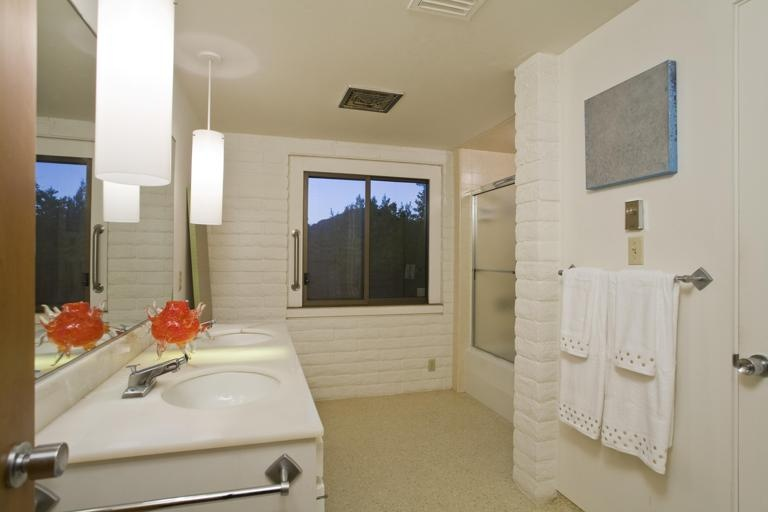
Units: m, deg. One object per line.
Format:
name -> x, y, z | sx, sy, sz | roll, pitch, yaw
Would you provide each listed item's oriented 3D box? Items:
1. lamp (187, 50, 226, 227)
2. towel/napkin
lamp -> -1.036, -0.668, 2.975 | 0.182, 0.973, 0.641 | -3, 8, -17
towel/napkin -> 1.147, 0.488, 2.554 | 0.223, 0.870, 0.681 | -5, 9, -30
